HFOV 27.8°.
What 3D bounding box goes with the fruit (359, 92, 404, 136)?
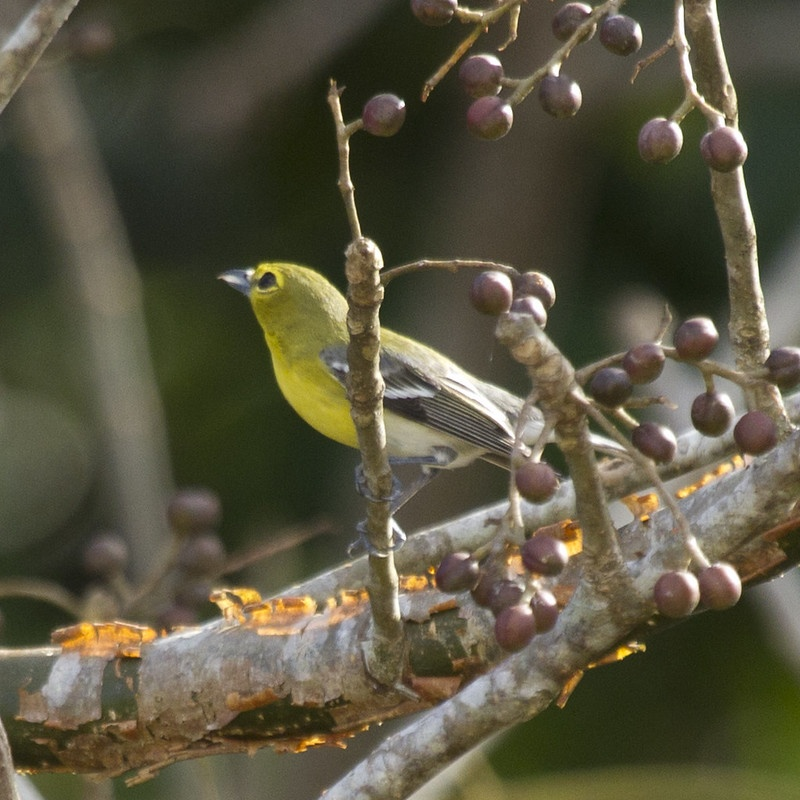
[{"bbox_3d":[-0.050,-0.715,4.002,0.113,0.087,0.086,2,-8,29],"label":"fruit"}]
